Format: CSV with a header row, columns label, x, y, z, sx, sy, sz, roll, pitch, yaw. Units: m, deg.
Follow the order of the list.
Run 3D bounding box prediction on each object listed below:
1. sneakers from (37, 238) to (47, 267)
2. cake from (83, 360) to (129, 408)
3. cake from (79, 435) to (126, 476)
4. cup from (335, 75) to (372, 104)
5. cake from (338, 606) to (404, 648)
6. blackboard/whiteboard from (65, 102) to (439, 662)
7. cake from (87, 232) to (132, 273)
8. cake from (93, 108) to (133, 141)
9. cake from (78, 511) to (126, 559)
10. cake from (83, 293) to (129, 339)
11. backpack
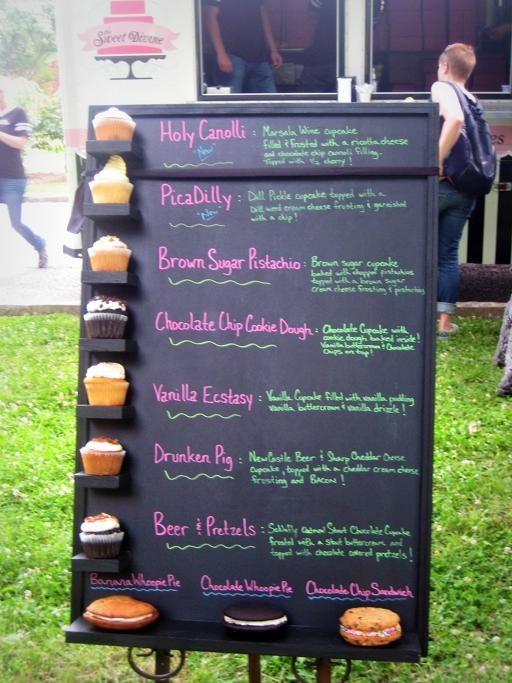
label,x,y,z,sx,sy,sz,roll,pitch,yaw
sneakers,-1.662,-0.681,7.393,0.083,0.197,0.177,-9,26,-9
cake,-0.685,0.189,4.298,0.217,0.182,0.203,1,0,14
cake,-0.676,0.510,4.202,0.189,0.130,0.179,-1,-5,39
cup,0.668,-1.711,6.456,0.251,0.147,0.267,-3,25,1
cake,0.484,1.221,4.105,0.195,0.069,0.176,-2,2,1
blackboard/whiteboard,-0.021,0.173,4.212,1.583,2.259,1.418,1,27,9
cake,-0.650,-0.404,4.226,0.184,0.121,0.181,1,4,5
cake,-0.639,-0.964,4.255,0.190,0.116,0.172,1,11,6
cake,-0.685,0.866,4.253,0.210,0.169,0.207,-1,-6,-8
cake,-0.683,-0.108,4.306,0.217,0.186,0.211,1,-5,0
backpack,1.319,-1.250,5.975,0.380,0.719,0.338,-14,29,-19
